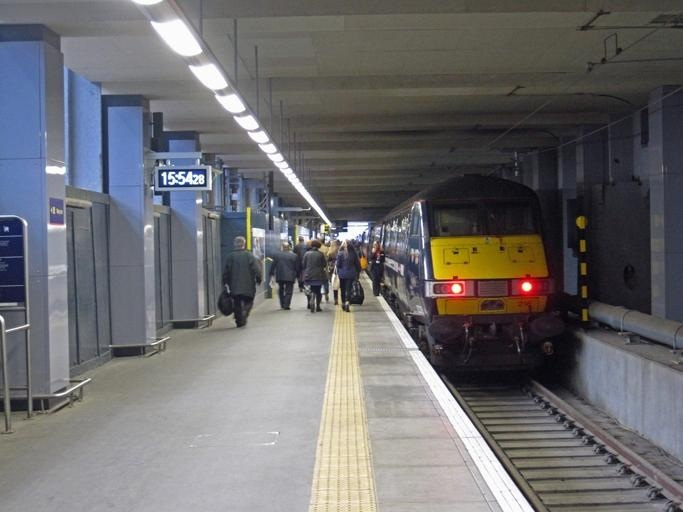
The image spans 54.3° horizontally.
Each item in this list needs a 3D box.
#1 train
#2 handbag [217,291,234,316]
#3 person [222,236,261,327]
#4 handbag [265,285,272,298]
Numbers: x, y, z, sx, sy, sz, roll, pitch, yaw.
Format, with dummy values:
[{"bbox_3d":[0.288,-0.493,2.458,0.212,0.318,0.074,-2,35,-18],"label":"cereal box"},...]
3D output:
[{"bbox_3d":[2.608,0.081,18.996,2.570,3.887,14.066,-1,1,-2],"label":"train"},{"bbox_3d":[-2.606,1.044,14.816,0.251,0.515,0.376,-2,6,8],"label":"handbag"},{"bbox_3d":[-2.241,0.615,15.006,0.836,2.052,0.542,-2,6,2],"label":"person"},{"bbox_3d":[-2.573,1.266,22.841,0.324,0.363,0.326,0,-3,-9],"label":"handbag"}]
